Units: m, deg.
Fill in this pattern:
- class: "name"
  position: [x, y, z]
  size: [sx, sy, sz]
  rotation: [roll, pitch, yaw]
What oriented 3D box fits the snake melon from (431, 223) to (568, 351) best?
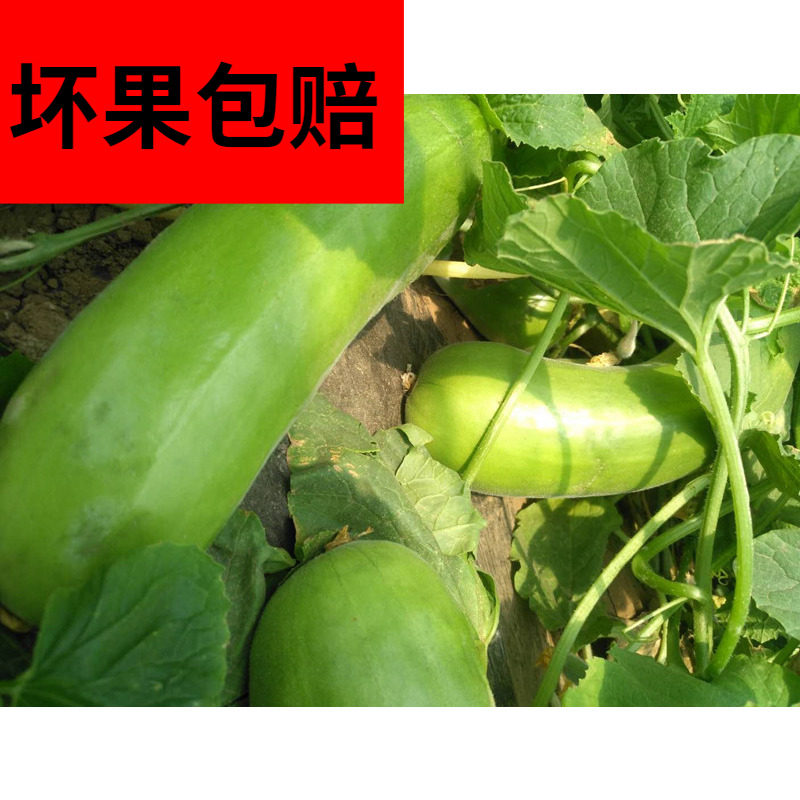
- class: "snake melon"
  position: [0.114, -0.104, 0.856]
  size: [0.152, 0.090, 0.100]
  rotation: [27, 61, -13]
